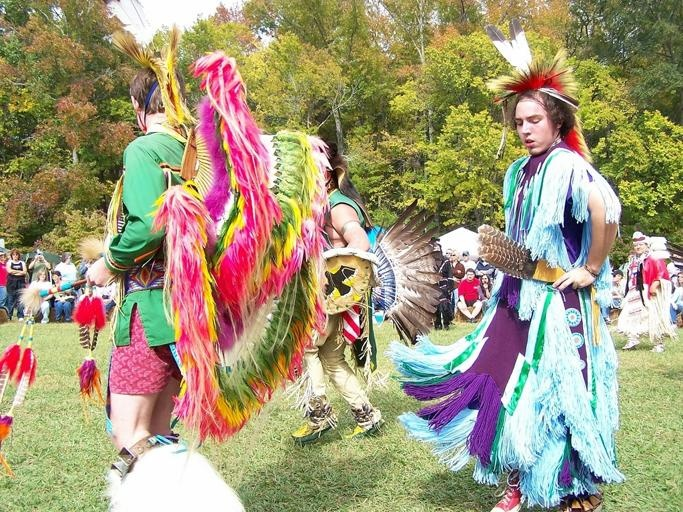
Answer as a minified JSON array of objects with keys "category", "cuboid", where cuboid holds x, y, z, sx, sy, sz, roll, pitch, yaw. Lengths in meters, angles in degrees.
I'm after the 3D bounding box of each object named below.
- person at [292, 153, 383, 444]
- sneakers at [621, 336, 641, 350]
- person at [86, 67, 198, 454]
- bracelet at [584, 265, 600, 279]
[{"category":"person","cuboid":[-0.001,0.327,3.869,0.657,2.109,1.049,0,4,-6]},{"category":"sneakers","cuboid":[4.165,1.263,8.268,0.218,0.157,0.077,-31,-5,13]},{"category":"person","cuboid":[-0.898,-0.030,2.624,0.348,1.721,0.456,0,4,-13]},{"category":"bracelet","cuboid":[1.322,0.081,3.042,0.073,0.068,0.036,2,4,11]}]
